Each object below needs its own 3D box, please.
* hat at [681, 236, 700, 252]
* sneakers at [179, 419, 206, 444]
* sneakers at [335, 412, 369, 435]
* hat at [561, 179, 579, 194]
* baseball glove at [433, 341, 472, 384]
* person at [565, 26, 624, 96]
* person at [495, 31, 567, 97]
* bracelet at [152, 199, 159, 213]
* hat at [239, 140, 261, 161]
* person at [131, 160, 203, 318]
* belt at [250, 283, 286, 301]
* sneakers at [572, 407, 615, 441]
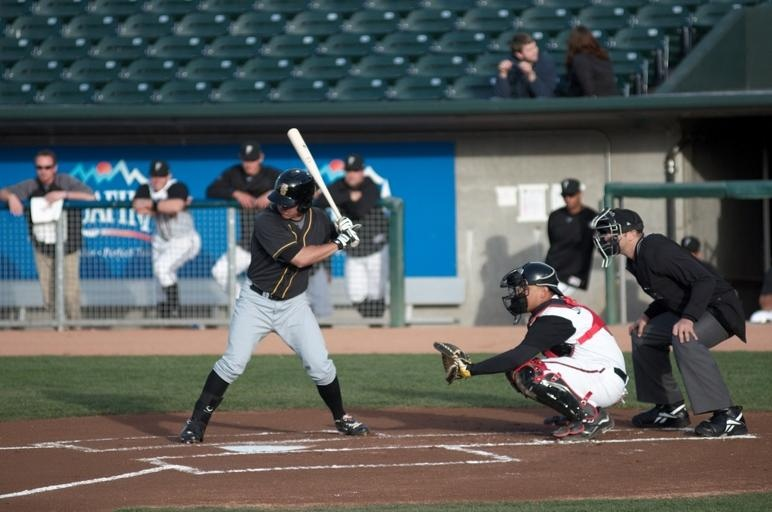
[{"bbox_3d":[4.324,-0.151,20.963,0.238,0.167,0.304,0,25,4],"label":"hat"},{"bbox_3d":[-2.178,2.015,16.739,0.296,0.290,0.236,-2,3,-8],"label":"sneakers"},{"bbox_3d":[-0.455,1.971,17.037,0.501,0.180,0.170,2,26,10],"label":"sneakers"},{"bbox_3d":[2.668,-0.985,21.252,0.250,0.231,0.216,-2,3,5],"label":"hat"},{"bbox_3d":[0.776,1.239,16.728,0.386,0.466,0.421,-2,3,7],"label":"baseball glove"},{"bbox_3d":[3.039,-2.920,22.113,0.687,1.089,0.501,-1,3,11],"label":"person"},{"bbox_3d":[2.105,-2.883,22.348,0.907,0.978,0.396,-2,3,4],"label":"person"},{"bbox_3d":[-3.245,-0.696,20.838,0.077,0.163,0.136,-2,3,-7],"label":"bracelet"},{"bbox_3d":[-1.919,-1.487,21.071,0.287,0.256,0.238,-2,3,-7],"label":"hat"},{"bbox_3d":[-3.162,-0.238,21.134,1.115,2.086,0.953,0,-4,-8],"label":"person"},{"bbox_3d":[-1.341,0.431,16.757,0.380,0.199,0.038,-1,3,3],"label":"belt"},{"bbox_3d":[2.368,1.932,16.715,0.523,0.224,0.241,-16,26,-22],"label":"sneakers"}]
